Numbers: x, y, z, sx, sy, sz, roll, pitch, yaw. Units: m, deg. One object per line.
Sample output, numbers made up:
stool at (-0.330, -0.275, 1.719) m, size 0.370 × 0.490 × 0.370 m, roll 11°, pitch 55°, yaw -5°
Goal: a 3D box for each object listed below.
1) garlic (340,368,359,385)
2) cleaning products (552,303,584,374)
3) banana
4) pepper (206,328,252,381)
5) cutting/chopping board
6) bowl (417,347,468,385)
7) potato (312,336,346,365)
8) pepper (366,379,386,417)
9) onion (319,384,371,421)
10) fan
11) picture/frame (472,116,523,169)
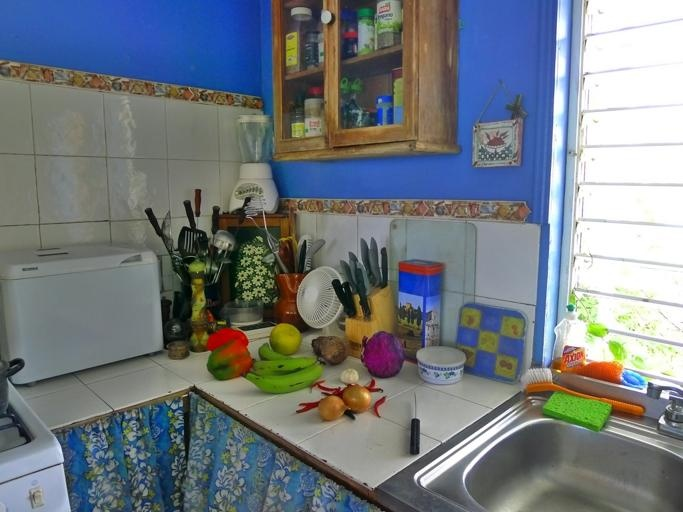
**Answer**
garlic at (0.031, 0.409, 1.658) m, size 0.048 × 0.051 × 0.050 m, roll 1°, pitch -2°, yaw -12°
cleaning products at (0.764, 0.270, 1.610) m, size 0.097 × 0.228 × 0.110 m, roll 4°, pitch 14°, yaw 27°
banana at (-0.173, 0.399, 1.688) m, size 0.283 × 0.118 × 0.220 m, roll 3°, pitch 29°, yaw 4°
pepper at (-0.417, 0.339, 1.786) m, size 0.157 × 0.134 × 0.285 m, roll -6°, pitch 14°, yaw -15°
cutting/chopping board at (0.347, 0.088, 1.844) m, size 0.357 × 0.465 × 0.063 m, roll 10°, pitch 18°, yaw 43°
bowl at (0.348, 0.380, 1.689) m, size 0.163 × 0.092 × 0.142 m, roll 2°, pitch 14°, yaw 18°
potato at (-0.047, 0.354, 1.792) m, size 0.076 × 0.070 × 0.128 m, roll 16°, pitch -5°, yaw -23°
pepper at (0.110, 0.456, 1.536) m, size 0.058 × 0.028 × 0.252 m, roll 1°, pitch 2°, yaw 6°
onion at (0.019, 0.442, 1.469) m, size 0.188 × 0.085 × 0.068 m, roll -8°, pitch 14°, yaw -23°
fan at (-0.090, 0.212, 2.037) m, size 0.109 × 0.295 × 0.182 m, roll -8°, pitch 15°, yaw -44°
picture/frame at (0.528, -0.386, 1.637) m, size 0.163 × 0.150 × 0.023 m, roll 9°, pitch 17°, yaw 39°
